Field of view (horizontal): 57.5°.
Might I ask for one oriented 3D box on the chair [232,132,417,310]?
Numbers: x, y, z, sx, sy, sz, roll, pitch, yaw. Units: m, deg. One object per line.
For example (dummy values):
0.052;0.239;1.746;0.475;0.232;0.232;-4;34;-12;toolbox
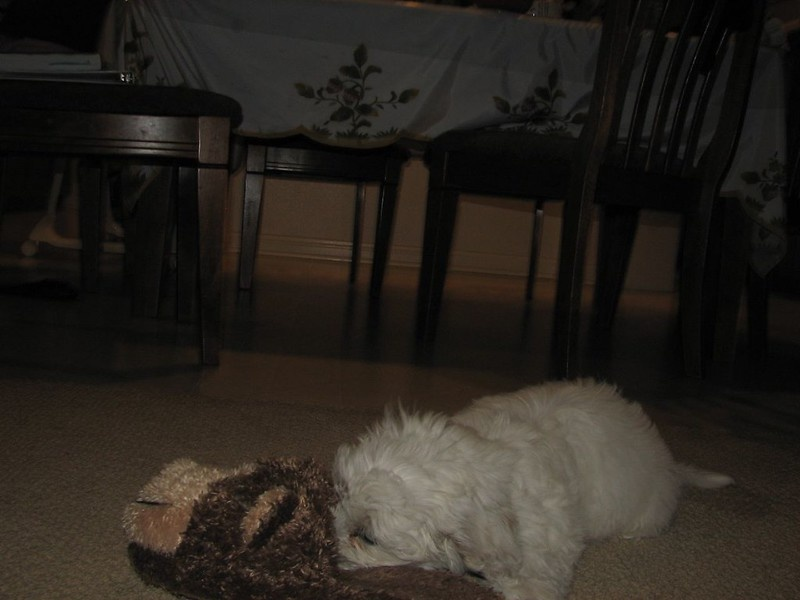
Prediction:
-0.120;-0.118;1.040;0.248;0.249;0.210;3;9;-8;chair
